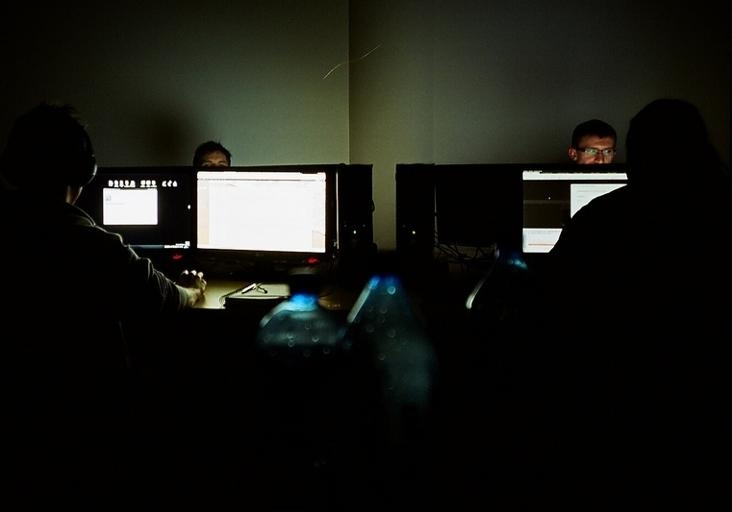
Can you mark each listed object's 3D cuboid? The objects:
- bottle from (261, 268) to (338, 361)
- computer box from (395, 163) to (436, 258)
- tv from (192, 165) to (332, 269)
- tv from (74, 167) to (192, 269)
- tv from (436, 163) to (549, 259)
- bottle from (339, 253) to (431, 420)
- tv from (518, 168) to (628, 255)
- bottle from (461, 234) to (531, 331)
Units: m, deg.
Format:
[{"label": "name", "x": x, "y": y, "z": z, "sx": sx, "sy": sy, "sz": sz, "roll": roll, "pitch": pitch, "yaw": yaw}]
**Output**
[{"label": "bottle", "x": -0.270, "y": 0.207, "z": 2.281, "sx": 0.272, "sy": 0.292, "sz": 0.273, "roll": 3, "pitch": 1, "yaw": -27}, {"label": "computer box", "x": 0.217, "y": -0.208, "z": 2.813, "sx": 0.175, "sy": 0.396, "sz": 0.196, "roll": 0, "pitch": 5, "yaw": 2}, {"label": "tv", "x": -0.441, "y": -0.185, "z": 2.752, "sx": 0.609, "sy": 0.398, "sz": 0.133, "roll": 2, "pitch": 5, "yaw": 17}, {"label": "tv", "x": -0.987, "y": -0.198, "z": 2.820, "sx": 0.500, "sy": 0.450, "sz": 0.117, "roll": -1, "pitch": 6, "yaw": 5}, {"label": "tv", "x": 0.496, "y": -0.202, "z": 2.968, "sx": 0.461, "sy": 0.418, "sz": 0.454, "roll": 0, "pitch": 10, "yaw": 10}, {"label": "bottle", "x": 0.077, "y": 0.296, "z": 2.123, "sx": 0.282, "sy": 0.465, "sz": 0.166, "roll": 0, "pitch": 5, "yaw": 4}, {"label": "tv", "x": 0.881, "y": -0.193, "z": 2.864, "sx": 0.417, "sy": 0.303, "sz": 0.219, "roll": 2, "pitch": -9, "yaw": 11}, {"label": "bottle", "x": 0.484, "y": 0.125, "z": 2.378, "sx": 0.230, "sy": 0.255, "sz": 0.278, "roll": 1, "pitch": 6, "yaw": 14}]
